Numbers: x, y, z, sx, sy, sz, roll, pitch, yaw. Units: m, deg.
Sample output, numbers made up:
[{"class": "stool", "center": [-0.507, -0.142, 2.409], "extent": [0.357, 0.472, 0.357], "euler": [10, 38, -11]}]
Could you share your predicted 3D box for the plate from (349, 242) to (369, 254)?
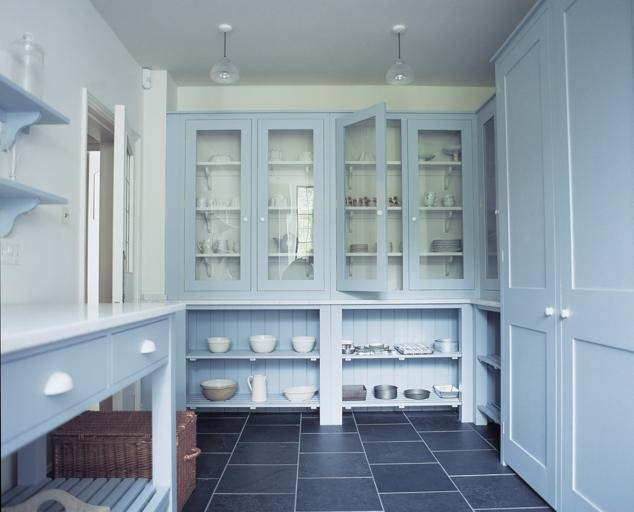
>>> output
[{"class": "plate", "center": [0.294, -0.059, 3.606], "extent": [0.157, 0.066, 0.024], "euler": [1, 2, 42]}]

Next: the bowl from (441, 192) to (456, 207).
[{"class": "bowl", "center": [0.990, -0.429, 3.851], "extent": [0.097, 0.179, 0.098], "euler": [0, -4, 0]}]

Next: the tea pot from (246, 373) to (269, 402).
[{"class": "tea pot", "center": [-0.437, 0.979, 3.788], "extent": [0.190, 0.188, 0.146], "euler": [0, -4, -8]}]

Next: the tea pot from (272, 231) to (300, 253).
[{"class": "tea pot", "center": [-0.243, -0.092, 3.784], "extent": [0.171, 0.120, 0.109], "euler": [-3, -1, -1]}]

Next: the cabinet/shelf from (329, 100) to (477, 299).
[{"class": "cabinet/shelf", "center": [0.676, -0.385, 3.761], "extent": [1.045, 1.385, 0.483], "euler": [-1, 1, -20]}]

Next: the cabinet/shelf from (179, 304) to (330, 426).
[{"class": "cabinet/shelf", "center": [-0.483, 0.802, 3.900], "extent": [1.061, 0.812, 0.345], "euler": [1, 0, -7]}]

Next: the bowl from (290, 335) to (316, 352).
[{"class": "bowl", "center": [-0.108, 0.669, 3.865], "extent": [0.174, 0.115, 0.112], "euler": [0, 1, -3]}]

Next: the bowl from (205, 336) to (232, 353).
[{"class": "bowl", "center": [-0.750, 0.678, 3.900], "extent": [0.177, 0.114, 0.255], "euler": [0, 1, -7]}]

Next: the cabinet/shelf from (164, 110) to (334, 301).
[{"class": "cabinet/shelf", "center": [-0.493, -0.328, 3.793], "extent": [1.407, 1.572, 0.468], "euler": [0, -4, -1]}]

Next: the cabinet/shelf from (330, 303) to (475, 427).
[{"class": "cabinet/shelf", "center": [0.639, 0.812, 3.930], "extent": [1.056, 0.884, 0.312], "euler": [-2, 1, 10]}]

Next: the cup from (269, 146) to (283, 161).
[{"class": "cup", "center": [-0.314, -0.777, 3.828], "extent": [0.117, 0.087, 0.076], "euler": [-2, -3, 45]}]

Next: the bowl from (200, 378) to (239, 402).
[{"class": "bowl", "center": [-0.731, 1.003, 3.829], "extent": [0.282, 0.132, 0.360], "euler": [0, 1, -9]}]

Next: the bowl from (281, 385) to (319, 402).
[{"class": "bowl", "center": [-0.111, 1.031, 3.797], "extent": [0.272, 0.099, 0.273], "euler": [0, 1, 0]}]

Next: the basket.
[{"class": "basket", "center": [-0.950, 0.896, 2.431], "extent": [0.487, 0.302, 0.490], "euler": [-1, -4, -2]}]

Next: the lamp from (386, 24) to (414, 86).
[{"class": "lamp", "center": [0.542, -1.332, 3.364], "extent": [0.207, 0.342, 0.211], "euler": [13, 29, 35]}]

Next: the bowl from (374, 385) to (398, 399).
[{"class": "bowl", "center": [0.512, 1.020, 3.810], "extent": [0.173, 0.100, 0.101], "euler": [0, 1, -4]}]

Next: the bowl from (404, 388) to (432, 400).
[{"class": "bowl", "center": [0.762, 1.059, 3.886], "extent": [0.195, 0.050, 0.246], "euler": [0, 1, 9]}]

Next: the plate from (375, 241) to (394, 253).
[{"class": "plate", "center": [0.479, -0.067, 3.662], "extent": [0.139, 0.089, 0.429], "euler": [0, 1, 9]}]
